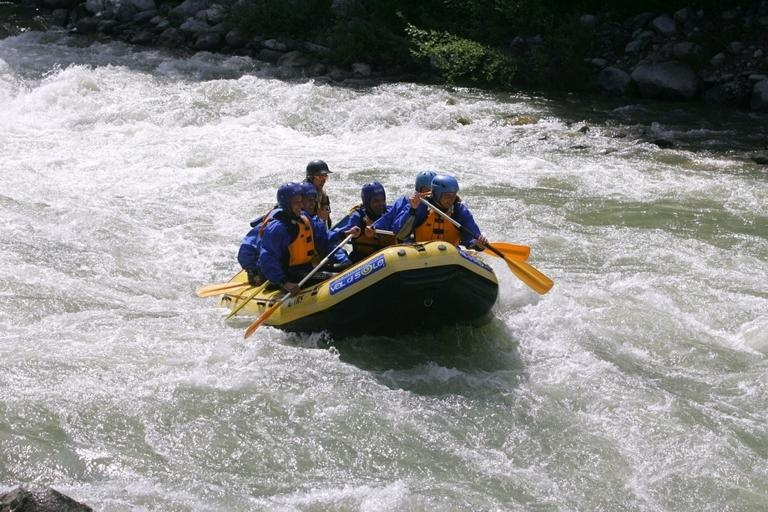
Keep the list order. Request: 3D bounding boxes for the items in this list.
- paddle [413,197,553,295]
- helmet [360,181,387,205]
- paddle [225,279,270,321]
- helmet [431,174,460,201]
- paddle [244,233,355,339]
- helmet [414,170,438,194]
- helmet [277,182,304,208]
[{"bbox_3d":[1.390,-0.097,11.980,2.425,0.169,0.357,33,64,-2],"label":"paddle"},{"bbox_3d":[-0.162,-0.889,11.906,0.282,0.308,0.352,-7,24,-16],"label":"helmet"},{"bbox_3d":[-1.841,0.621,11.631,0.908,0.041,0.158,-35,57,14],"label":"paddle"},{"bbox_3d":[0.809,-0.915,11.382,0.349,0.302,0.280,-3,7,24],"label":"helmet"},{"bbox_3d":[-1.122,0.435,11.257,1.956,0.100,0.196,-41,63,3],"label":"paddle"},{"bbox_3d":[0.554,-1.014,11.792,0.314,0.282,0.246,-17,-3,31],"label":"helmet"},{"bbox_3d":[-1.239,-0.803,11.288,0.330,0.269,0.287,-1,43,-6],"label":"helmet"}]
